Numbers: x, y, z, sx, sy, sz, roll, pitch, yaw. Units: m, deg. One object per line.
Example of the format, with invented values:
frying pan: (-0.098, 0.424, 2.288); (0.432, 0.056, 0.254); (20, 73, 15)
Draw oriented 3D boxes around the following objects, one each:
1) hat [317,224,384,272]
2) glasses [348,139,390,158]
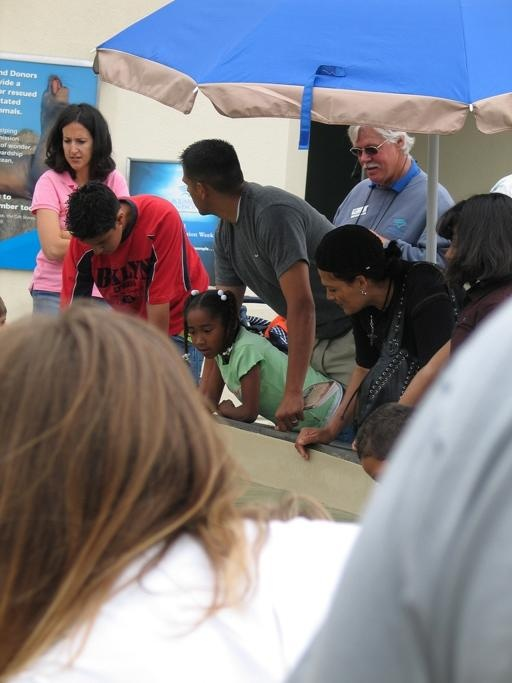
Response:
hat: (0.346, -0.333, 2.369); (0.240, 0.141, 0.155); (-4, 37, 6)
glasses: (0.555, -0.923, 3.013); (0.119, 0.036, 0.115); (-28, 18, -31)
